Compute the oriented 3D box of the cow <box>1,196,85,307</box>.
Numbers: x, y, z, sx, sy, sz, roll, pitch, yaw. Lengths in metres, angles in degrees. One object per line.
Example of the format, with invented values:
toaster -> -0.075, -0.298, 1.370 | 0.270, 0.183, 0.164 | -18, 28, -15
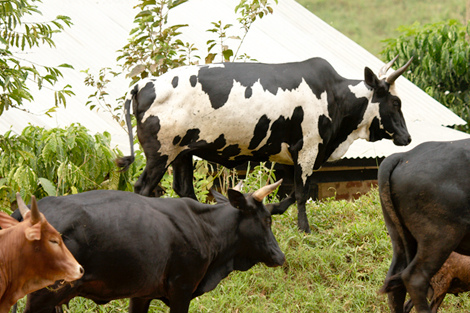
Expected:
cow -> -2.031, 1.003, 6.069 | 0.812, 1.107, 0.236 | -1, 3, 14
